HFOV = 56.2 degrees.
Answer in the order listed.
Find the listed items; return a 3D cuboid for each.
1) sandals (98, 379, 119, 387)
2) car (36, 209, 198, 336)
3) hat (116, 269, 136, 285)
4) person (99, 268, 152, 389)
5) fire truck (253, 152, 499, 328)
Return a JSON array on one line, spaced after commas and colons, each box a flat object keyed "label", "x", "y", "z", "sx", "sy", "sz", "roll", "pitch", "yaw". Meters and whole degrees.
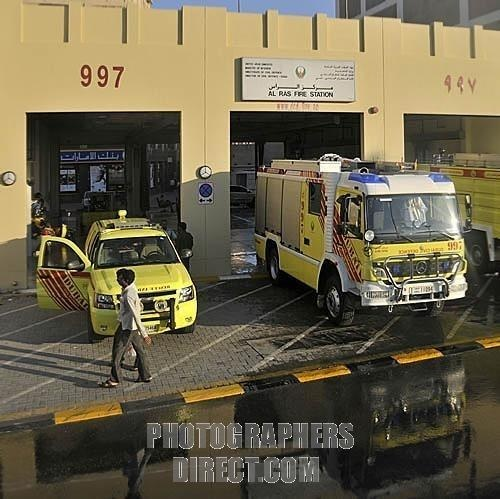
[{"label": "sandals", "x": -2.182, "y": 2.091, "z": 7.289, "sx": 0.164, "sy": 0.049, "sz": 0.167, "roll": -4, "pitch": 13, "yaw": -40}, {"label": "car", "x": -2.697, "y": 0.508, "z": 9.947, "sx": 2.143, "sy": 1.643, "sz": 3.134, "roll": -1, "pitch": 5, "yaw": -19}, {"label": "hat", "x": -1.861, "y": 0.402, "z": 7.057, "sx": 0.232, "sy": 0.242, "sz": 0.281, "roll": -7, "pitch": 10, "yaw": -21}, {"label": "person", "x": -1.915, "y": 1.197, "z": 7.103, "sx": 0.747, "sy": 1.784, "sz": 0.627, "roll": -3, "pitch": 10, "yaw": -28}, {"label": "fire truck", "x": 2.713, "y": -0.621, "z": 12.507, "sx": 2.869, "sy": 3.984, "sz": 6.825, "roll": -2, "pitch": 8, "yaw": -16}]
